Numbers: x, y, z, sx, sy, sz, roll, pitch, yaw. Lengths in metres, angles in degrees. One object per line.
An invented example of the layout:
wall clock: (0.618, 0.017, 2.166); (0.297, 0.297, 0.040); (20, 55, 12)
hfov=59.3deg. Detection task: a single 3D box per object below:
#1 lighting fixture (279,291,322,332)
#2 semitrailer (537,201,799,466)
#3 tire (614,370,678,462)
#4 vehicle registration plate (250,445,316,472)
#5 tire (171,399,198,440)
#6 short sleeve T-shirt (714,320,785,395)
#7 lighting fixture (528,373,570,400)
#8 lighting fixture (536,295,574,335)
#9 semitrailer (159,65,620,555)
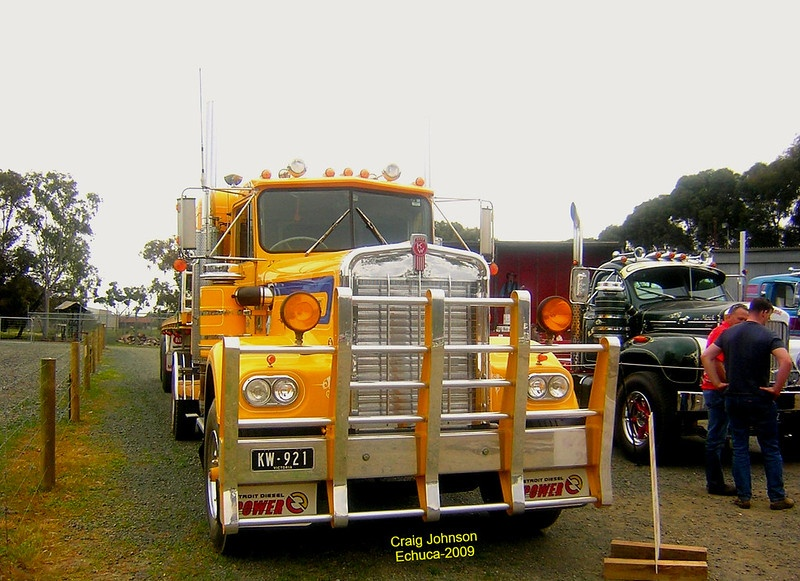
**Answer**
lighting fixture: (-0.834, 0.178, 5.975); (0.313, 0.379, 0.067); (-2, 2, -10)
semitrailer: (4.113, 0.791, 12.457); (2.695, 4.262, 6.787); (0, -4, -14)
tire: (3.286, 1.704, 9.487); (0.489, 1.229, 0.943); (0, 2, -24)
vehicle registration plate: (-0.943, 1.352, 5.628); (0.481, 0.167, 0.030); (1, 2, -11)
tire: (-3.033, 1.830, 9.952); (0.248, 0.767, 0.685); (1, -1, -18)
short sleeve T-shirt: (3.795, 0.747, 7.729); (0.319, 0.859, 0.833); (4, -3, -38)
lighting fixture: (1.356, 0.881, 6.444); (0.231, 0.156, 0.272); (0, 0, -8)
lighting fixture: (1.408, 0.226, 6.427); (0.267, 0.349, 0.317); (-1, 2, -1)
semitrailer: (-0.793, 0.648, 8.751); (2.405, 3.929, 6.788); (1, -6, -18)
